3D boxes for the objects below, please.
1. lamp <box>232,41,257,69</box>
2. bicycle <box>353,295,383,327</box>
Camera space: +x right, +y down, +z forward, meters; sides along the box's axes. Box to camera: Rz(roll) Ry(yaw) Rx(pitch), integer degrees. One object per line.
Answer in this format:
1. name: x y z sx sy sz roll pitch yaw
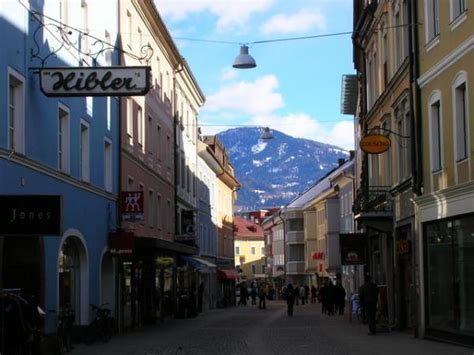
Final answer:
1. lamp: 0.243 -3.903 25.070 0.755 0.884 0.872 1 -7 -12
2. bicycle: 4.921 5.191 29.566 0.714 1.125 1.611 4 -16 -19
